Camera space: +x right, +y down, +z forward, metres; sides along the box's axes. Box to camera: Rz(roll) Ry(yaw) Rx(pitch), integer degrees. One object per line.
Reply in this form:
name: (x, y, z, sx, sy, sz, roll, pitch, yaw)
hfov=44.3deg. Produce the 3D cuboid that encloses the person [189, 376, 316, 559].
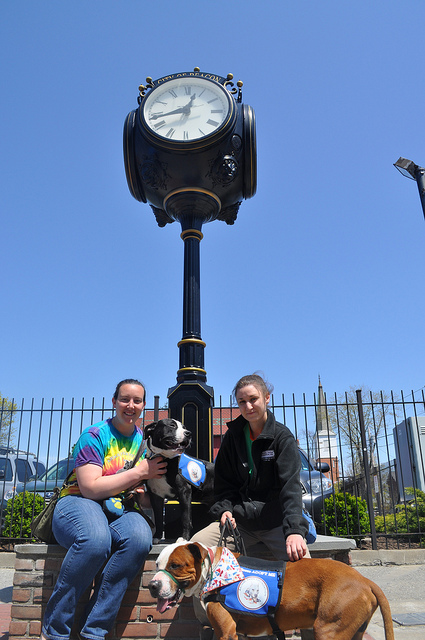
person: (0.204, 0.782, 2.769, 0.502, 1.005, 0.797, 4, -15, -19)

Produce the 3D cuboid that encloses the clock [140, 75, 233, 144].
clock: (-0.271, -2.217, 5.420, 0.867, 0.915, 0.194, -8, -22, 6)

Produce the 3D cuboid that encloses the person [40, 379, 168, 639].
person: (-0.568, 0.963, 2.821, 0.609, 1.315, 0.441, 4, -15, -19)
